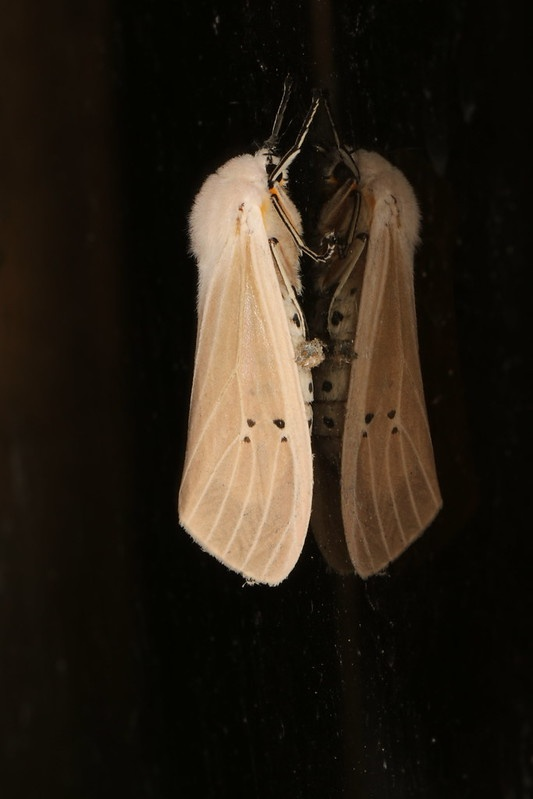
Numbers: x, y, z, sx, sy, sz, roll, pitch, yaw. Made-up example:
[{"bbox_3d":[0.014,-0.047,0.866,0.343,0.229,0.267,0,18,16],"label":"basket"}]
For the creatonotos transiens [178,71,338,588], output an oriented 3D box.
[{"bbox_3d":[-0.009,-0.046,0.856,0.100,0.131,0.460,3,95,24],"label":"creatonotos transiens"}]
